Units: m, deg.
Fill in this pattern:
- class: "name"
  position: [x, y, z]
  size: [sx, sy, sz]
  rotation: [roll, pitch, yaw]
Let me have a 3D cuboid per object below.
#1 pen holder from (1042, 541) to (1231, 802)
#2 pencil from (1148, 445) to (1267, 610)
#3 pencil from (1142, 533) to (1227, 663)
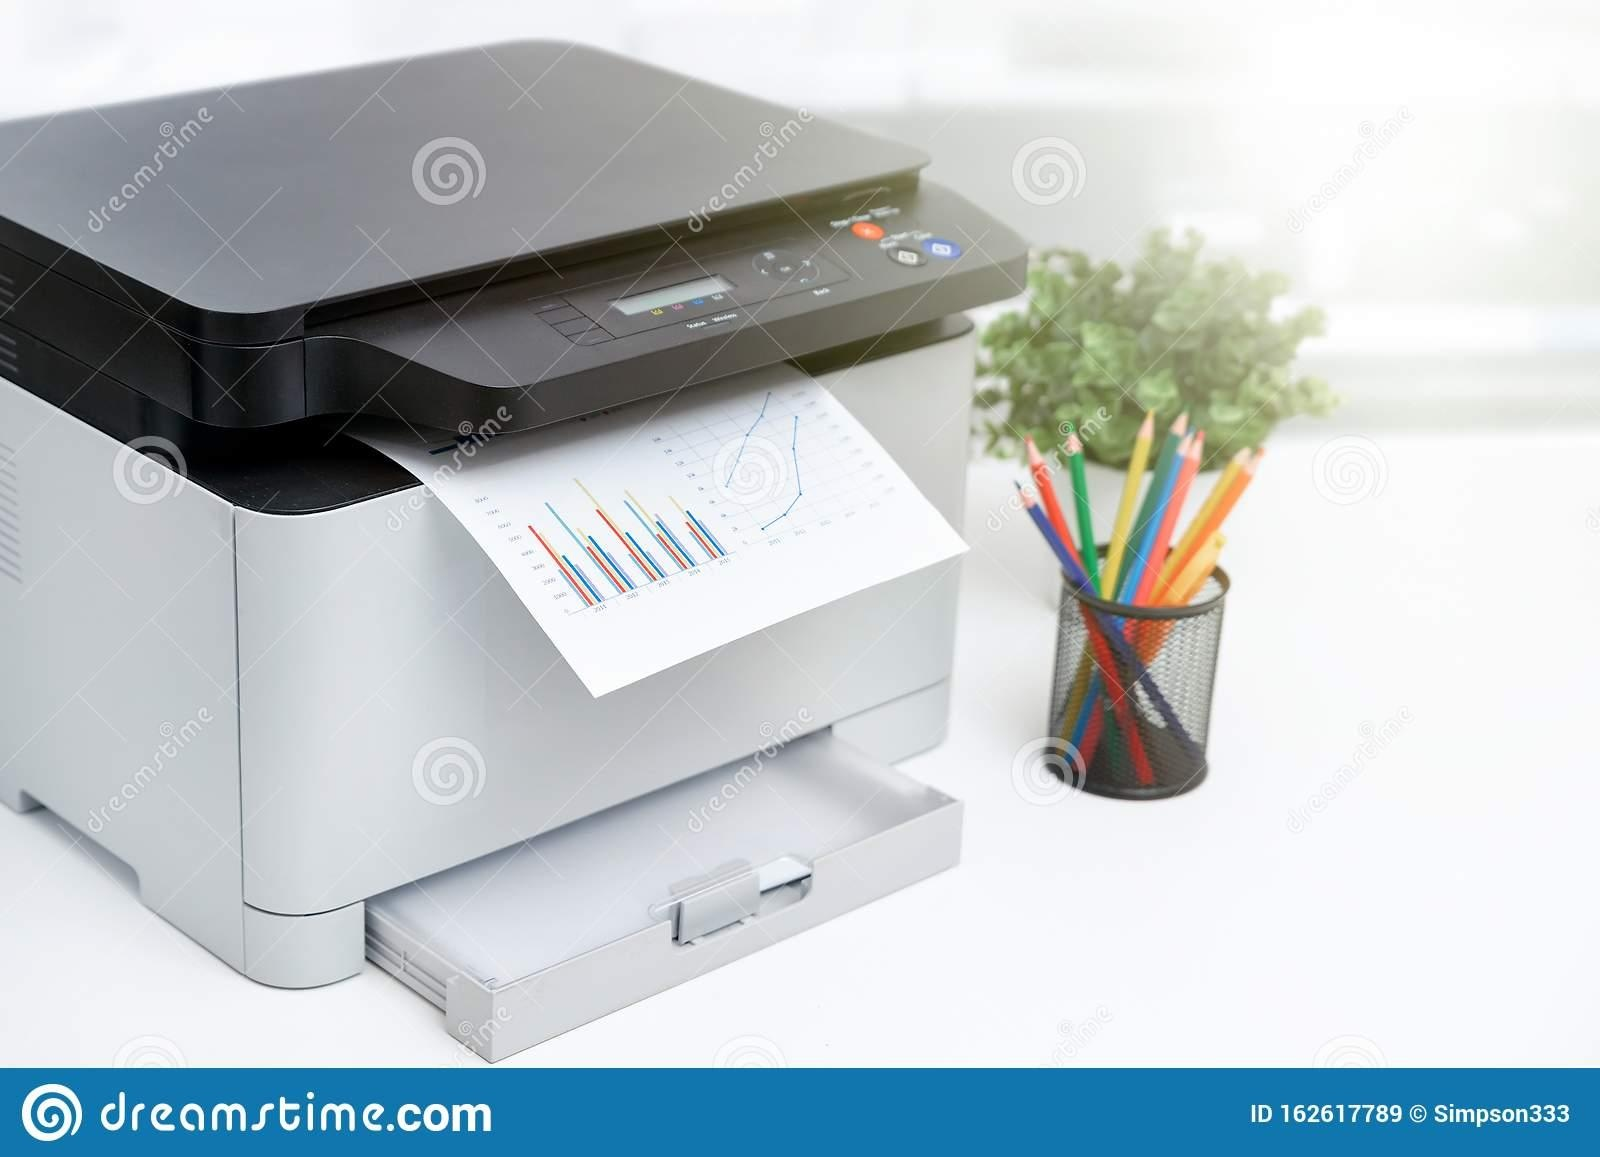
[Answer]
- class: "pen holder"
  position: [0.236, 0.063, 1.190]
  size: [0.153, 0.182, 0.163]
  rotation: [-6, 28, -8]
- class: "pencil"
  position: [0.333, -0.038, 1.204]
  size: [0.179, 0.023, 0.023]
  rotation: [-59, -17, 14]
- class: "pencil"
  position: [0.286, 0.016, 1.099]
  size: [0.102, 0.023, 0.024]
  rotation: [-56, 13, 0]
